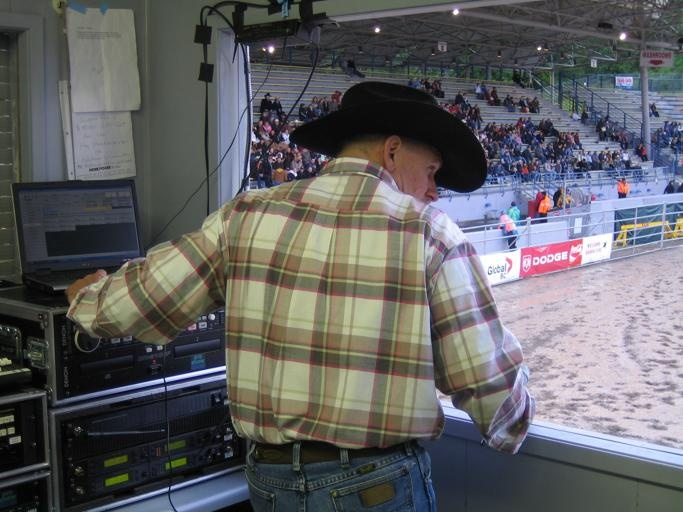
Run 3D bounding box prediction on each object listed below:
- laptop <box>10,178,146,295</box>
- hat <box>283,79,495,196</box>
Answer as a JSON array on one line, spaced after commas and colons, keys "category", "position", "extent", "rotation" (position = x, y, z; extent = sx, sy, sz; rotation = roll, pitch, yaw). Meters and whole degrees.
[{"category": "laptop", "position": [-1.068, -0.126, 2.702], "extent": [0.500, 0.389, 0.415], "rotation": [-6, 10, -37]}, {"category": "hat", "position": [0.155, -0.225, 1.793], "extent": [0.416, 0.160, 0.362], "rotation": [22, -11, -17]}]
